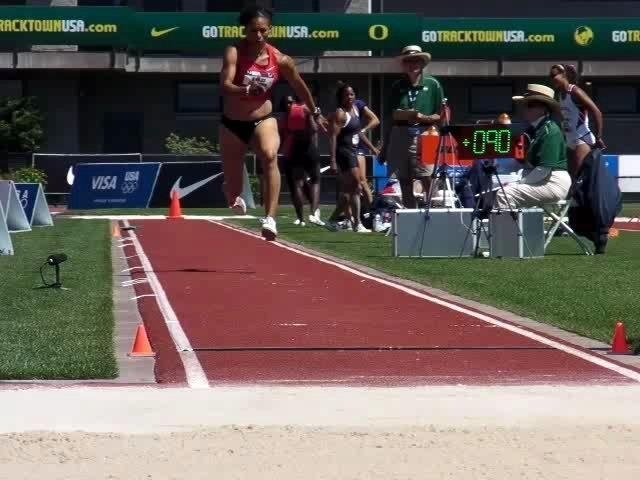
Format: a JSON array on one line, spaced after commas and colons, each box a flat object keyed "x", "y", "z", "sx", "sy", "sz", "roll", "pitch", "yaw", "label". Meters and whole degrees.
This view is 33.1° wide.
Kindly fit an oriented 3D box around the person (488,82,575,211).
[{"x": 2.465, "y": -1.068, "z": 12.301, "sx": 0.764, "sy": 1.403, "sz": 0.859, "roll": 3, "pitch": 8, "yaw": 20, "label": "person"}]

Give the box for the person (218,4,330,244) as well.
[{"x": -0.492, "y": -1.073, "z": 10.120, "sx": 0.884, "sy": 2.176, "sz": 1.033, "roll": 0, "pitch": 8, "yaw": -5, "label": "person"}]

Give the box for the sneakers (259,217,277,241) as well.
[{"x": -0.474, "y": -0.098, "z": 10.066, "sx": 0.142, "sy": 0.247, "sz": 0.424, "roll": 0, "pitch": 7, "yaw": -5, "label": "sneakers"}]

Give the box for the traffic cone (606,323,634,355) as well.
[{"x": 1.968, "y": 0.639, "z": 6.969, "sx": 0.210, "sy": 0.188, "sz": 0.197, "roll": -1, "pitch": 4, "yaw": 23, "label": "traffic cone"}]

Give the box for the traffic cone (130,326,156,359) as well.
[{"x": -1.160, "y": 0.648, "z": 6.803, "sx": 0.200, "sy": 0.179, "sz": 0.180, "roll": -1, "pitch": 1, "yaw": -19, "label": "traffic cone"}]
